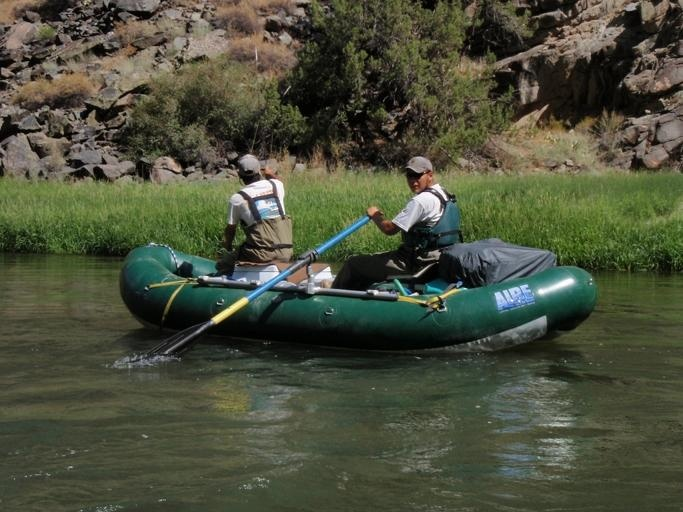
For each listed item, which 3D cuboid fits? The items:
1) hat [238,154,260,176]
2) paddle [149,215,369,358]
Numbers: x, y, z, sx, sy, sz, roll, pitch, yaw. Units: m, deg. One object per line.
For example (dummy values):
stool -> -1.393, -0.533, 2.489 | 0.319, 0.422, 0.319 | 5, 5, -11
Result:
hat -> -1.469, -1.434, 16.584 | 0.362, 0.356, 0.373 | -2, 3, 6
paddle -> -1.099, 0.483, 16.040 | 4.342, 0.309, 0.423 | -33, 20, -11
